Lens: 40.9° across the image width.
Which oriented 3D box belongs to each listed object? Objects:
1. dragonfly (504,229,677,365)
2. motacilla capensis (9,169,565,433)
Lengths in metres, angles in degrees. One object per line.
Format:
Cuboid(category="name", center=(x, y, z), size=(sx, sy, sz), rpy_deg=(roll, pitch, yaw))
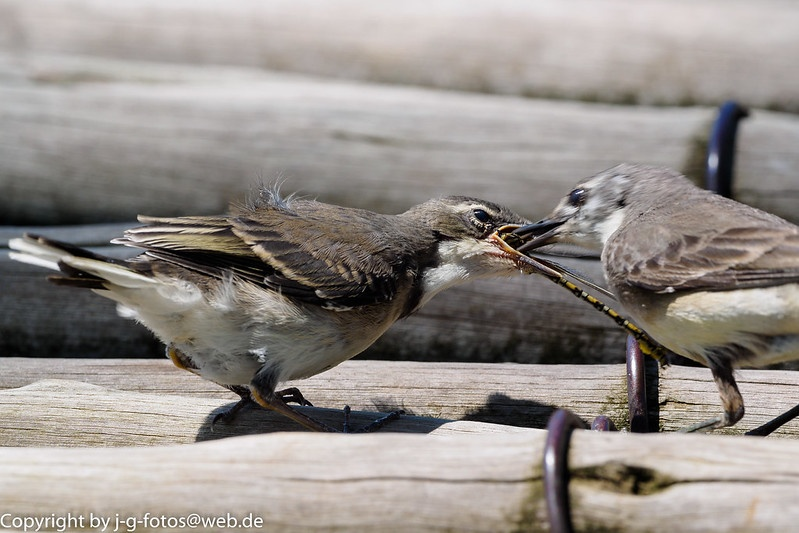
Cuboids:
Cuboid(category="dragonfly", center=(1.199, 0.218, 7.510), size=(1.202, 1.004, 0.860), rpy_deg=(-3, -24, 3))
Cuboid(category="motacilla capensis", center=(-0.779, 0.251, 7.258), size=(2.901, 1.397, 1.077), rpy_deg=(-6, 18, -31))
